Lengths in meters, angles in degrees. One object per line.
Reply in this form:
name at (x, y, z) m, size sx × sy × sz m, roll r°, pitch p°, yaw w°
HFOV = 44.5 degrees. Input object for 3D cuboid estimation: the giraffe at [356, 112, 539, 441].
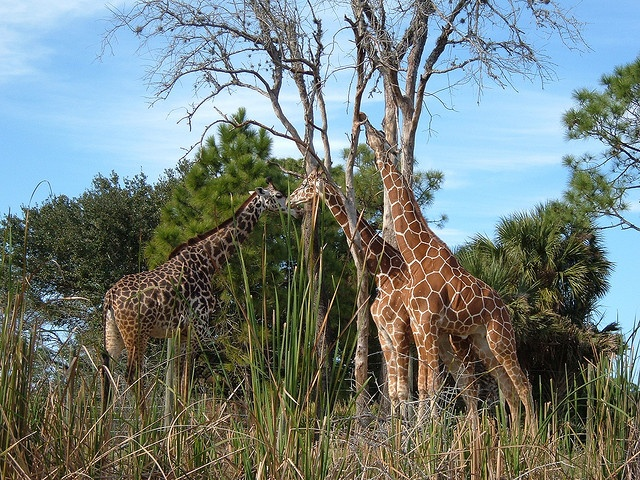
giraffe at (1.423, 0.301, 8.685) m, size 1.805 × 3.536 × 1.002 m, roll 1°, pitch -6°, yaw -3°
